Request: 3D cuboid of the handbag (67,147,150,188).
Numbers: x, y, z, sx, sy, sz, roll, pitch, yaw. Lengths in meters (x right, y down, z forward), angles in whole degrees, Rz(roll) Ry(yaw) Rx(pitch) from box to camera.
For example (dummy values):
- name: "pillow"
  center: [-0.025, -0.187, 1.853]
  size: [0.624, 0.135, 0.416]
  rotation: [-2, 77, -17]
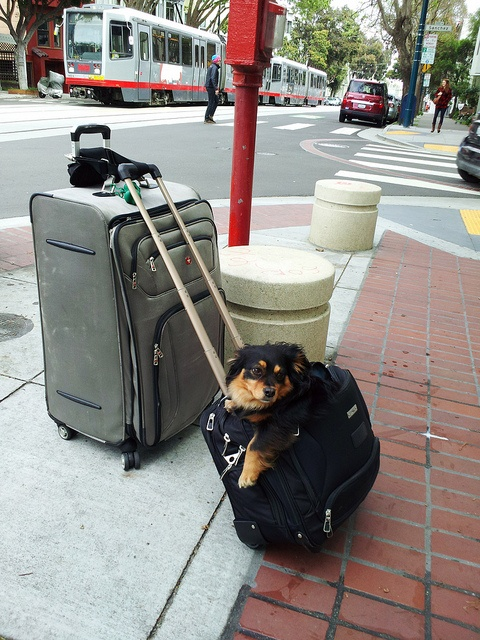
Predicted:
- name: "handbag"
  center: [-0.616, -0.632, 2.240]
  size: [0.316, 0.144, 0.244]
  rotation: [-9, -1, -15]

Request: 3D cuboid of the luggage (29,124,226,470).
- name: "luggage"
  center: [-0.427, -0.125, 2.406]
  size: [0.679, 1.297, 0.798]
  rotation: [14, 24, 30]

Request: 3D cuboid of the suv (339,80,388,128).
- name: "suv"
  center: [6.186, -10.709, 26.110]
  size: [1.666, 1.466, 2.820]
  rotation: [10, 49, 13]

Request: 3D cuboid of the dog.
- name: "dog"
  center: [0.135, 0.316, 1.746]
  size: [0.366, 0.496, 0.255]
  rotation: [-12, 28, -37]

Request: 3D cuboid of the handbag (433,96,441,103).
- name: "handbag"
  center: [7.725, -8.674, 20.508]
  size: [0.226, 0.310, 0.517]
  rotation: [11, 22, 13]
